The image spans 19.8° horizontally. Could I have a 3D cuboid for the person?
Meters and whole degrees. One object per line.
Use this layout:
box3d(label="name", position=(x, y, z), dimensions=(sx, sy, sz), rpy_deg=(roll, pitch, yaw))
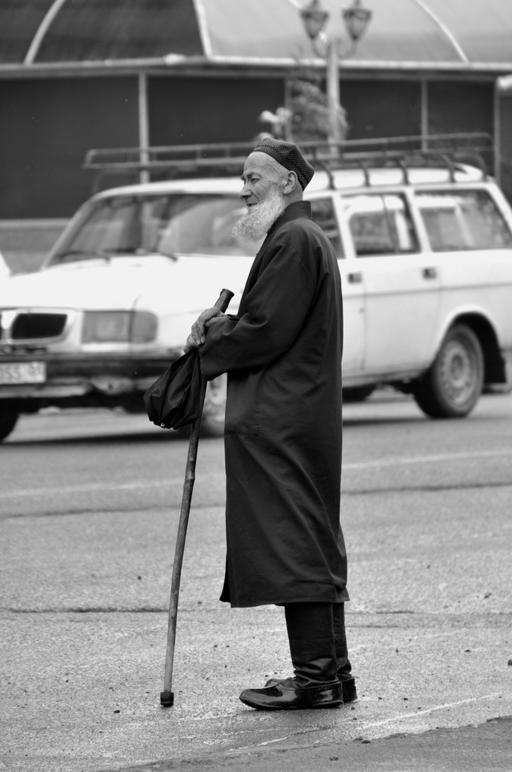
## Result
box3d(label="person", position=(0.040, 0.096, 4.394), dimensions=(0.470, 1.684, 0.363), rpy_deg=(-3, 2, 1))

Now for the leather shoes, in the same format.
box3d(label="leather shoes", position=(0.124, 0.899, 4.295), dimensions=(0.324, 0.115, 0.130), rpy_deg=(3, -12, -6))

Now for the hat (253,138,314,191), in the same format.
box3d(label="hat", position=(0.099, -0.683, 4.513), dimensions=(0.172, 0.075, 0.138), rpy_deg=(33, -6, -8))
